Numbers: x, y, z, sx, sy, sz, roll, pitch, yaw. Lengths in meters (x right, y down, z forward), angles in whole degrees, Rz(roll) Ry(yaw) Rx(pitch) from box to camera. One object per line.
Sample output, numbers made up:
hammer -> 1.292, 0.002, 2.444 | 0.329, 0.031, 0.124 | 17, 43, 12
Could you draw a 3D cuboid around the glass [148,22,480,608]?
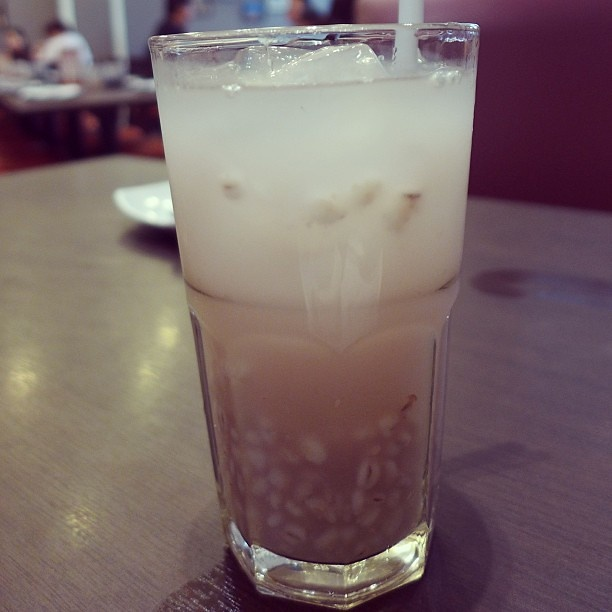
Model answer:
glass -> 0.029, 0.007, 0.521 | 0.247, 0.426, 0.230 | -6, 28, -9
